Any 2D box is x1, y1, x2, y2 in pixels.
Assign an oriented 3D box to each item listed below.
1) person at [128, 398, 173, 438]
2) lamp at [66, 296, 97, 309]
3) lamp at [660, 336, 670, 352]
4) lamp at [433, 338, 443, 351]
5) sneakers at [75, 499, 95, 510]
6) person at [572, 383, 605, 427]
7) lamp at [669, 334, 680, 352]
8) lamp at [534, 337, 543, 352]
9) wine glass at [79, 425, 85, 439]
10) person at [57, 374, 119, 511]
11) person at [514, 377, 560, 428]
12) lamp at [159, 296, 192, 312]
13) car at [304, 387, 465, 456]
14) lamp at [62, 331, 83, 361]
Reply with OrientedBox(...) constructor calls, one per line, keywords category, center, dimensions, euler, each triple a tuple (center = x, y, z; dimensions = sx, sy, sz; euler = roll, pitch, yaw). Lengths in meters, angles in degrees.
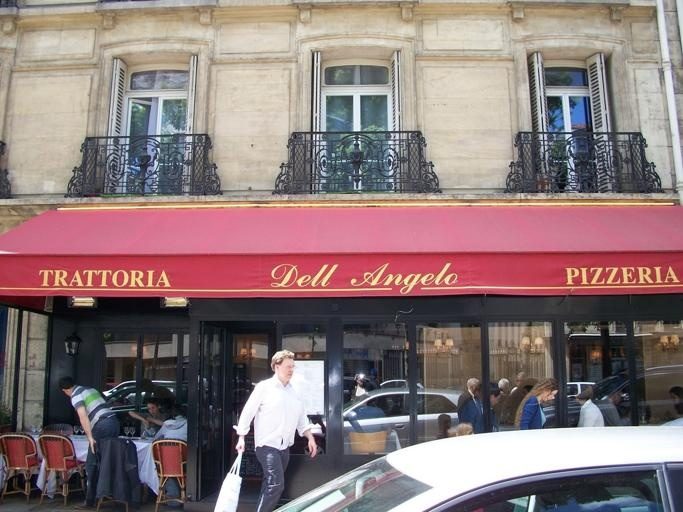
OrientedBox(category="person", center=(-3.357, 3.046, 15.155), dimensions=(0.692, 1.147, 0.491), euler=(-3, 6, -19))
OrientedBox(category="lamp", center=(-4.772, 0.856, 15.994), dimensions=(0.515, 0.205, 0.069), euler=(4, -13, -16))
OrientedBox(category="lamp", center=(5.257, 1.403, 14.082), dimensions=(0.164, 0.211, 0.060), euler=(4, -13, -16))
OrientedBox(category="lamp", center=(1.557, 1.406, 13.821), dimensions=(0.165, 0.213, 0.153), euler=(-2, 2, -6))
OrientedBox(category="sneakers", center=(-4.084, 3.949, 13.848), dimensions=(0.305, 0.136, 0.307), euler=(3, -12, -13))
OrientedBox(category="person", center=(3.882, 2.402, 13.422), dimensions=(0.456, 0.777, 0.639), euler=(4, 13, 28))
OrientedBox(category="lamp", center=(5.443, 1.401, 14.109), dimensions=(0.197, 0.264, 0.069), euler=(4, -13, -19))
OrientedBox(category="lamp", center=(3.185, 1.413, 13.967), dimensions=(0.150, 0.230, 0.051), euler=(0, -12, 1))
OrientedBox(category="wine glass", center=(-4.510, 3.024, 15.038), dimensions=(0.099, 0.235, 0.109), euler=(-8, -12, -4))
OrientedBox(category="person", center=(-4.037, 2.877, 13.861), dimensions=(0.903, 1.882, 0.522), euler=(3, -12, -13))
OrientedBox(category="person", center=(3.043, 2.282, 13.528), dimensions=(0.673, 0.773, 0.680), euler=(-3, -12, 13))
OrientedBox(category="lamp", center=(-3.073, 0.865, 15.662), dimensions=(0.665, 0.349, 0.438), euler=(2, 5, 3))
OrientedBox(category="car", center=(0.724, 2.617, 14.068), dimensions=(2.264, 0.724, 0.921), euler=(0, -6, -3))
OrientedBox(category="lamp", center=(-4.920, 1.652, 15.844), dimensions=(0.390, 0.593, 0.407), euler=(1, 0, 4))
